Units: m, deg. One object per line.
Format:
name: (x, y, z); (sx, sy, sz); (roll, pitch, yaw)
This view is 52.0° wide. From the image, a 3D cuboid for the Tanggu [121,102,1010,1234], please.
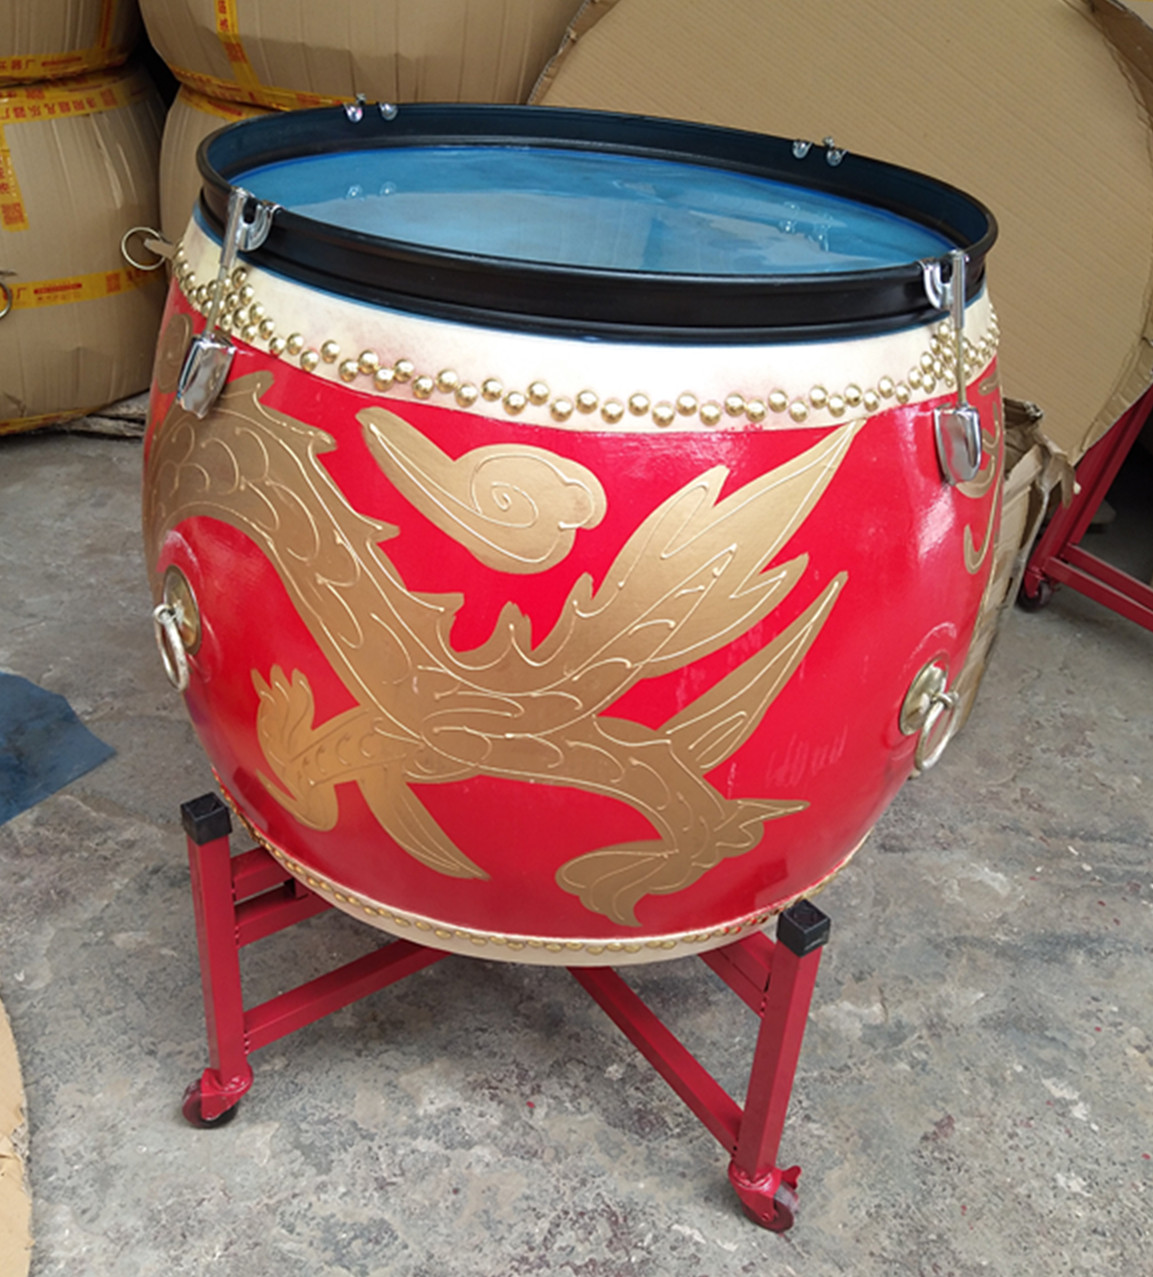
Tanggu: (-0.019, 0.036, 1.153); (0.737, 0.931, 0.757); (-3, 37, -17)
